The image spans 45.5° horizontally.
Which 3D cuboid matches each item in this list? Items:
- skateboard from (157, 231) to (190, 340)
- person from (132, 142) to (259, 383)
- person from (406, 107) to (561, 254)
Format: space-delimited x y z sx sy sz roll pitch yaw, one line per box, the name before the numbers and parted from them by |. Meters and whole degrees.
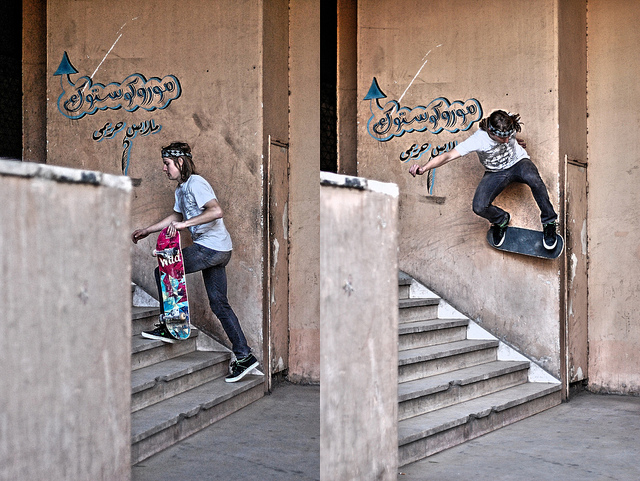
skateboard | -1.191 0.361 6.242 0.197 0.958 0.133 -4 12 3
person | -0.998 0.192 6.443 0.966 1.989 0.675 1 8 -1
person | 1.568 -0.560 7.047 0.979 0.584 0.786 -28 -48 20
